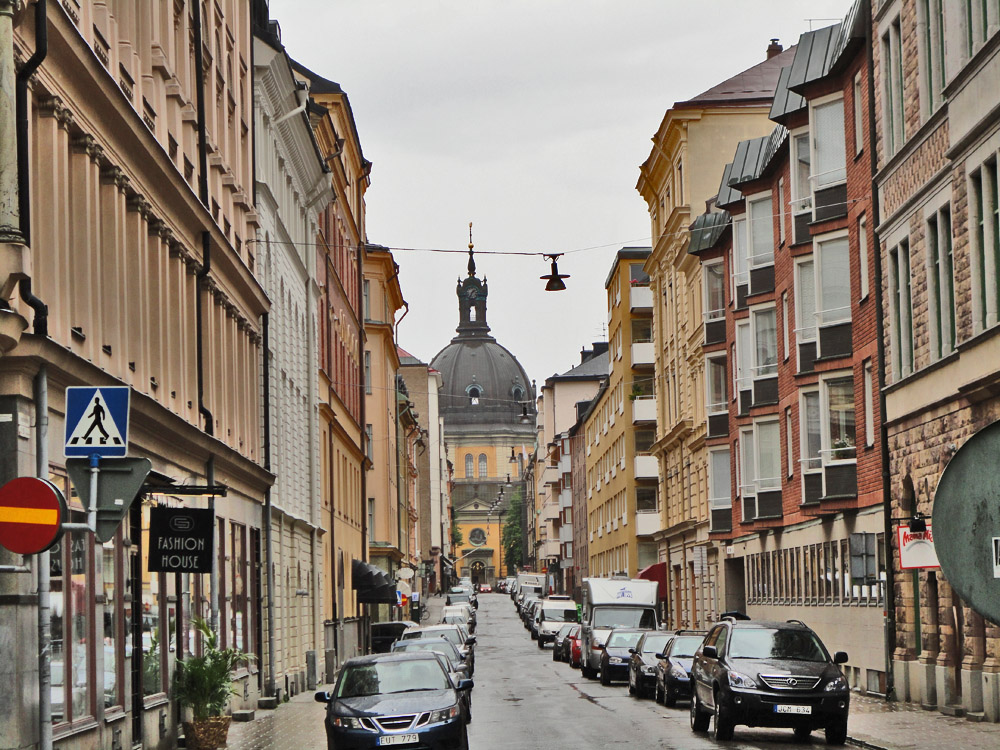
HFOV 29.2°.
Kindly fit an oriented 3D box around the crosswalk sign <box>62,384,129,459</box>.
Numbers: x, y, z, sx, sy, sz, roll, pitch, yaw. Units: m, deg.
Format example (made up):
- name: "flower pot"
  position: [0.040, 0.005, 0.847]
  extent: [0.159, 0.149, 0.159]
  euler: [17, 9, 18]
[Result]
- name: "crosswalk sign"
  position: [-4.556, 0.537, 21.639]
  extent: [0.687, 0.889, 0.293]
  euler: [2, -16, -6]
